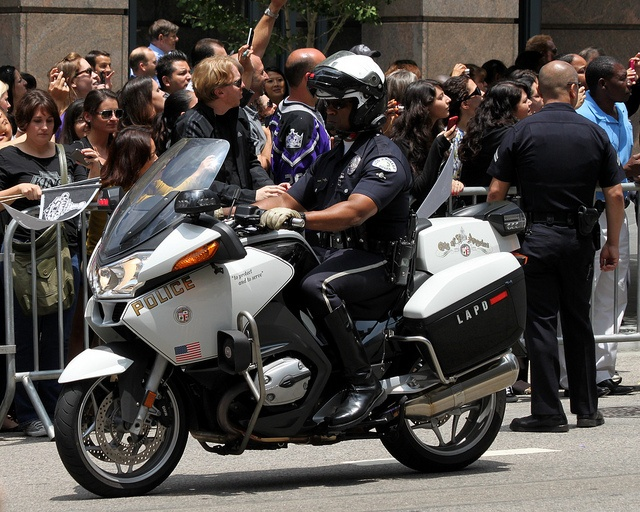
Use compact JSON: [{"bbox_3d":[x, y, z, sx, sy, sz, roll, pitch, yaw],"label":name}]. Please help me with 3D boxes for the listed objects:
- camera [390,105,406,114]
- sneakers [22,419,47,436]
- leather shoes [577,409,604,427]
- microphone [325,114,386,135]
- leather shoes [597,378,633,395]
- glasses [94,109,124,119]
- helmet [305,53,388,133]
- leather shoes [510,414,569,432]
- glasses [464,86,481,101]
[{"bbox_3d":[0.727,-1.367,8.627,0.125,0.050,0.155,0,6,16],"label":"camera"},{"bbox_3d":[-2.098,1.287,6.897,0.095,0.113,0.242,-3,3,-41],"label":"sneakers"},{"bbox_3d":[2.041,1.237,7.035,0.092,0.102,0.238,2,6,37],"label":"leather shoes"},{"bbox_3d":[0.245,-0.768,5.569,0.221,0.074,0.165,-13,6,0],"label":"microphone"},{"bbox_3d":[2.592,1.163,8.226,0.444,0.149,0.137,-1,-7,-8],"label":"leather shoes"},{"bbox_3d":[-1.767,-1.201,7.797,0.121,0.038,0.124,-3,1,44],"label":"glasses"},{"bbox_3d":[0.214,-0.975,5.648,0.548,0.434,0.414,2,0,-21],"label":"helmet"},{"bbox_3d":[1.616,1.229,6.896,0.431,0.156,0.147,3,-2,13],"label":"leather shoes"},{"bbox_3d":[1.446,-1.531,8.748,0.187,0.050,0.173,-12,8,17],"label":"glasses"}]
